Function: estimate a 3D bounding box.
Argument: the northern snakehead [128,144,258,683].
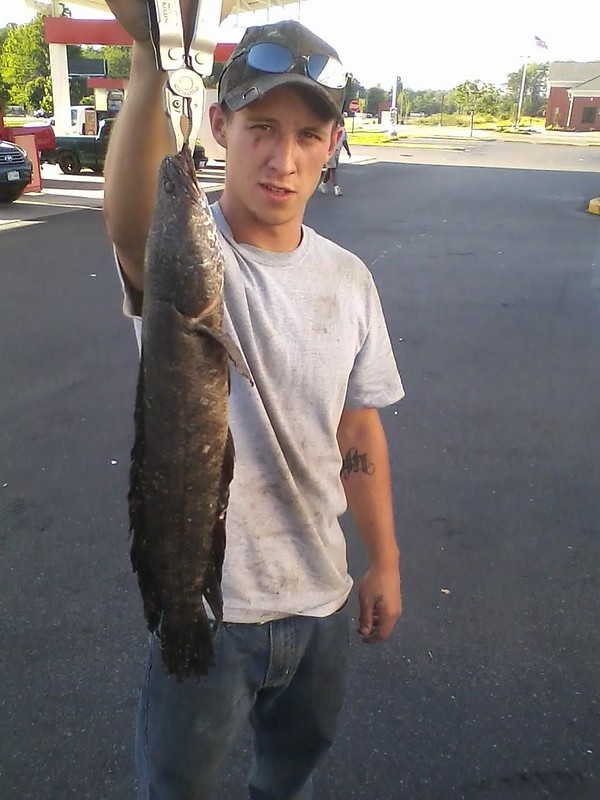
[{"bbox_3d":[-0.181,0.118,1.037,0.169,0.956,0.146,3,22,-8],"label":"northern snakehead"}]

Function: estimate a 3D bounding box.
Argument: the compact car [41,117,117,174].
[{"bbox_3d":[-6.246,-8.038,21.307,3.561,1.688,2.029,3,18,-7],"label":"compact car"}]

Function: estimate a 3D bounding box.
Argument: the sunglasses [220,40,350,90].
[{"bbox_3d":[-0.013,-0.639,1.266,0.264,0.068,0.157,0,22,-14],"label":"sunglasses"}]
